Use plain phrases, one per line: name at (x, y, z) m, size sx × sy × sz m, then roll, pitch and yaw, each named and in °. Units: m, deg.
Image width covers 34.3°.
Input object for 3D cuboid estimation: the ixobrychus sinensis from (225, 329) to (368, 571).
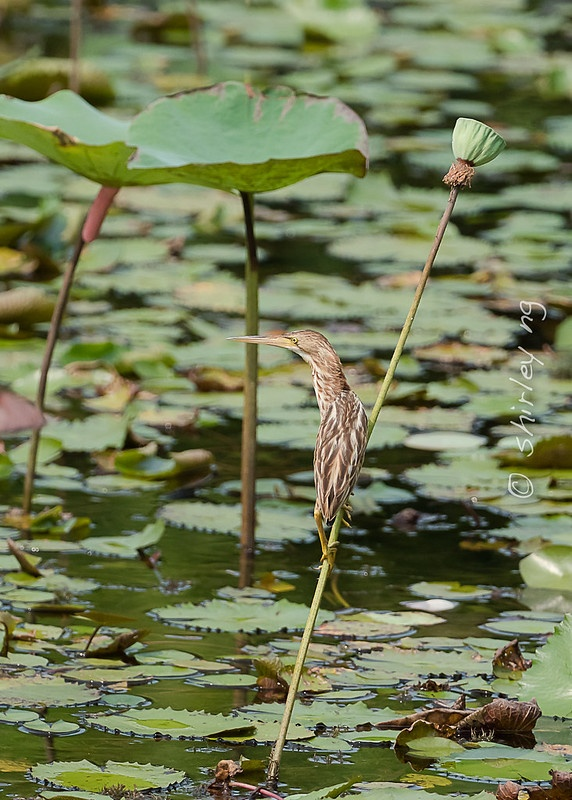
ixobrychus sinensis at (0.035, 0.040, 1.268) m, size 0.138 × 0.256 × 0.444 m, roll 5°, pitch 9°, yaw -3°
